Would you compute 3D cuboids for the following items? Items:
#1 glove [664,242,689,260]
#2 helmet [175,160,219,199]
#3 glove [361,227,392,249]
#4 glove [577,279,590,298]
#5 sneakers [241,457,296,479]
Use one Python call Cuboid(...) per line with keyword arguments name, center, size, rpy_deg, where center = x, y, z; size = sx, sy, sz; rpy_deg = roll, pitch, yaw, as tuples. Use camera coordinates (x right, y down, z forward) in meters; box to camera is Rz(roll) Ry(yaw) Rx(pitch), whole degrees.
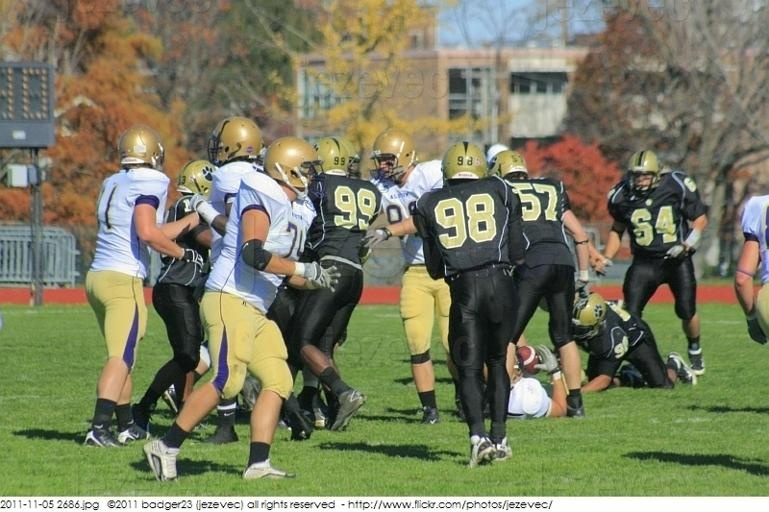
Cuboid(name="glove", center=(4.780, -0.073, 22.123), size=(0.340, 0.125, 0.199), rpy_deg=(-20, 55, 15))
Cuboid(name="helmet", center=(-2.803, -1.122, 20.343), size=(0.615, 0.504, 0.454), rpy_deg=(-38, 15, -6))
Cuboid(name="glove", center=(-0.095, -0.224, 19.696), size=(0.412, 0.150, 0.228), rpy_deg=(-28, 45, -2))
Cuboid(name="glove", center=(3.183, 0.515, 21.681), size=(0.234, 0.304, 0.294), rpy_deg=(1, 40, 9))
Cuboid(name="sneakers", center=(-1.608, 2.899, 18.615), size=(0.684, 0.290, 0.229), rpy_deg=(1, 1, -8))
